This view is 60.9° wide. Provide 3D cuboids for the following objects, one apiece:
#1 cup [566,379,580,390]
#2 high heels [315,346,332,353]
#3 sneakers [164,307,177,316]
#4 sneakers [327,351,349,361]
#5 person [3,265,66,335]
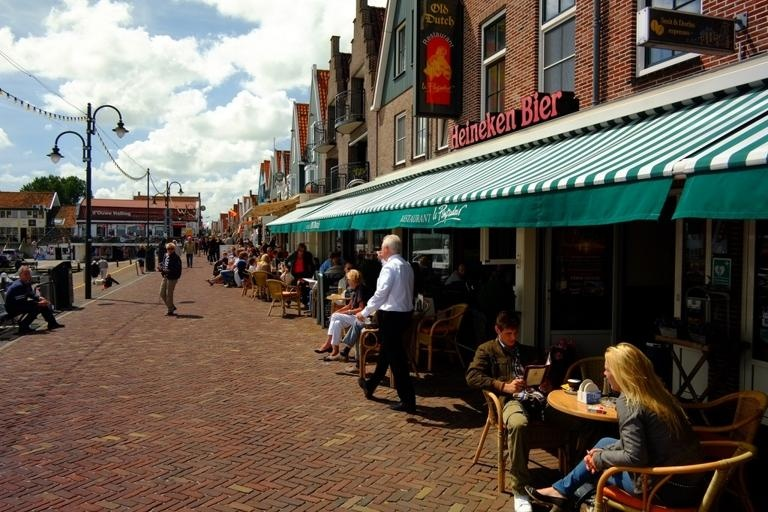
[{"bbox_3d":[2.145,1.446,7.371,0.118,0.079,0.119,1,-4,0],"label":"cup"},{"bbox_3d":[-1.129,1.728,12.063,0.334,0.141,0.112,3,-5,-17],"label":"high heels"},{"bbox_3d":[-5.457,1.389,16.596,0.148,0.171,0.440,3,14,-10],"label":"sneakers"},{"bbox_3d":[-0.763,1.770,11.532,0.524,0.203,0.174,2,-3,-10],"label":"sneakers"},{"bbox_3d":[-7.720,0.917,14.086,0.814,1.416,0.824,8,13,38],"label":"person"}]
